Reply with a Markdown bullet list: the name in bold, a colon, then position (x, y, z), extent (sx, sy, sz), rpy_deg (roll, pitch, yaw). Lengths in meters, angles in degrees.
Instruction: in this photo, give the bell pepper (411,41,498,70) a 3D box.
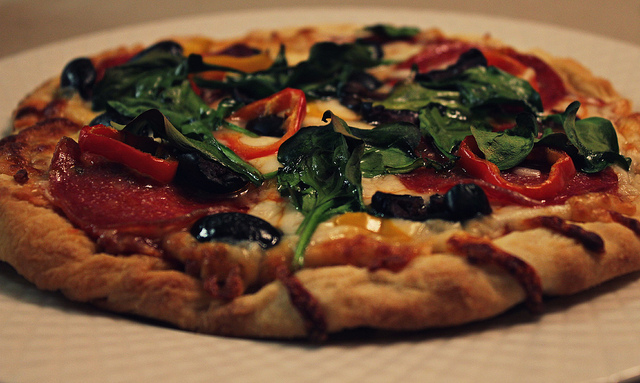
- **bell pepper**: position (1.072, -1.172, 5.174), extent (0.437, 0.096, 0.327), rpy_deg (-16, 23, 15)
